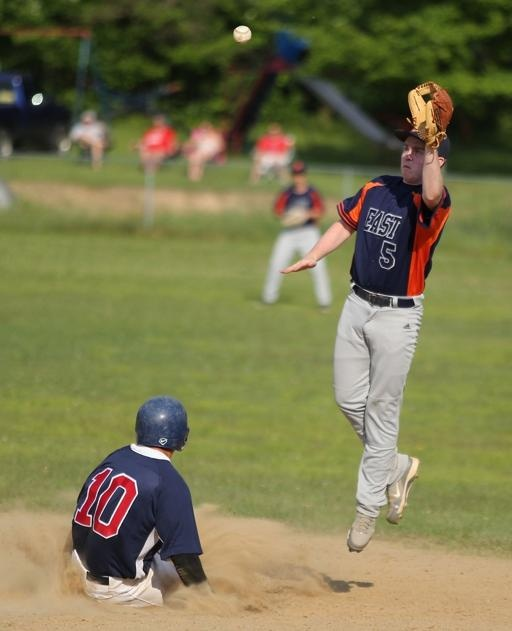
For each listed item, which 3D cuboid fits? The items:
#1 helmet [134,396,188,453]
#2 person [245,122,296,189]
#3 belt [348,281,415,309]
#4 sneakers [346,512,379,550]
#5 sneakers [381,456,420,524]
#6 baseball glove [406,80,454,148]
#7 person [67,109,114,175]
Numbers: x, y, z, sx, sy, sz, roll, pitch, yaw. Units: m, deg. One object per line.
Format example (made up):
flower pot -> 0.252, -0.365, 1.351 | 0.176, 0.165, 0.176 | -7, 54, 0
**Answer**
helmet -> -0.601, 0.647, 8.916 | 0.368, 0.319, 0.419 | 5, 11, -5
person -> 0.135, -1.283, 12.054 | 0.277, 0.417, 0.767 | 45, 26, -1
belt -> 0.782, -0.109, 9.344 | 0.425, 0.138, 0.096 | 4, -11, 23
sneakers -> 0.702, 1.346, 9.474 | 0.114, 0.141, 0.313 | 28, 42, -4
sneakers -> 0.961, 1.163, 9.791 | 0.254, 0.472, 0.166 | 10, 9, -17
baseball glove -> 1.074, -1.137, 9.081 | 0.244, 0.281, 0.104 | 9, 2, 25
person -> -1.302, -1.418, 11.844 | 0.261, 0.435, 0.777 | 11, -9, -7
